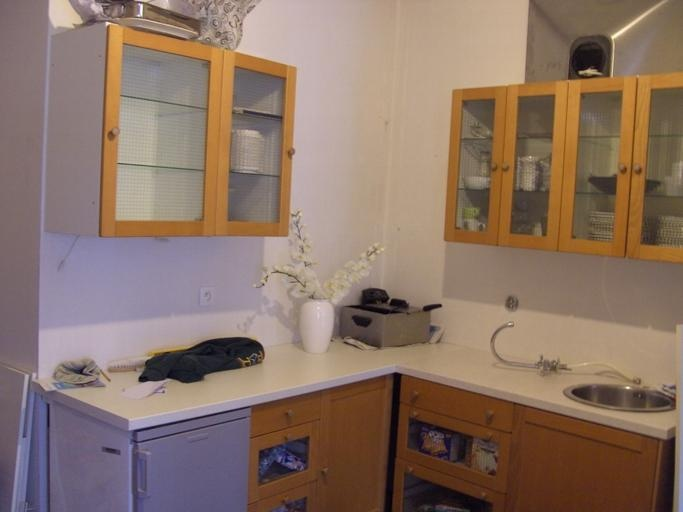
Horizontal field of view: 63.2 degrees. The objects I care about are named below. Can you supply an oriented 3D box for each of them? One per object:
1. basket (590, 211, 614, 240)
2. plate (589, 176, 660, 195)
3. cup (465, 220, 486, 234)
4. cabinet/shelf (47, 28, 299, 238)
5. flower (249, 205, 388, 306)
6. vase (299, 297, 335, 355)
[{"bbox_3d":[1.369,-0.168,2.924,0.129,0.190,0.128,-1,3,-33],"label":"basket"},{"bbox_3d":[1.460,-0.370,2.880,0.336,0.100,0.065,6,9,21],"label":"plate"},{"bbox_3d":[0.795,-0.187,3.307,0.099,0.056,0.037,12,6,42],"label":"cup"},{"bbox_3d":[-0.846,-0.584,2.636,0.406,0.847,1.073,6,5,44],"label":"cabinet/shelf"},{"bbox_3d":[-0.156,0.031,3.511,0.829,0.636,0.473,-2,10,-30],"label":"flower"},{"bbox_3d":[-0.152,0.429,3.542,0.273,0.403,0.278,3,3,-5],"label":"vase"}]
